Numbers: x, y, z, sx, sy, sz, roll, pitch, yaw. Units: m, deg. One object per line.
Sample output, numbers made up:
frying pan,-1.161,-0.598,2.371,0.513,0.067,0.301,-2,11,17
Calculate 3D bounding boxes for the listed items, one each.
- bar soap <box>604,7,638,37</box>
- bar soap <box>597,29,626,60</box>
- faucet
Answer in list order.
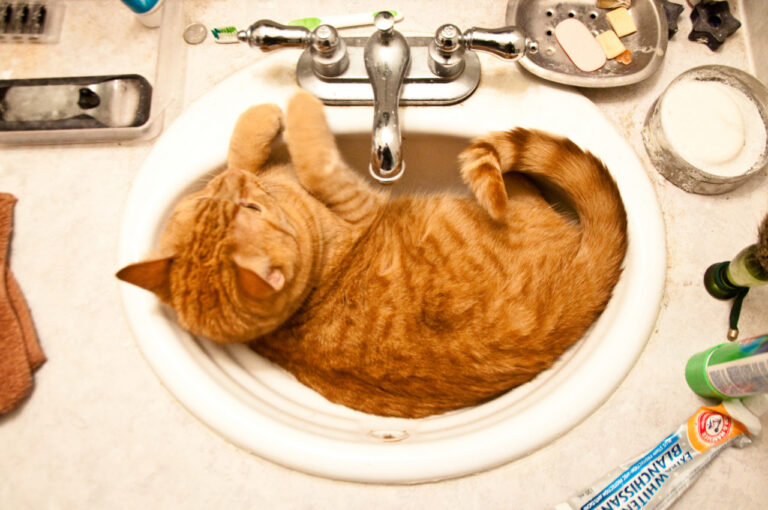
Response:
bar soap,0.593,-0.585,1.974,0.053,0.076,0.017,-22,-7,0
bar soap,0.563,-0.525,1.968,0.054,0.053,0.055,-22,35,-11
faucet,-0.010,-0.377,1.875,0.142,0.329,0.153,-2,46,-6
